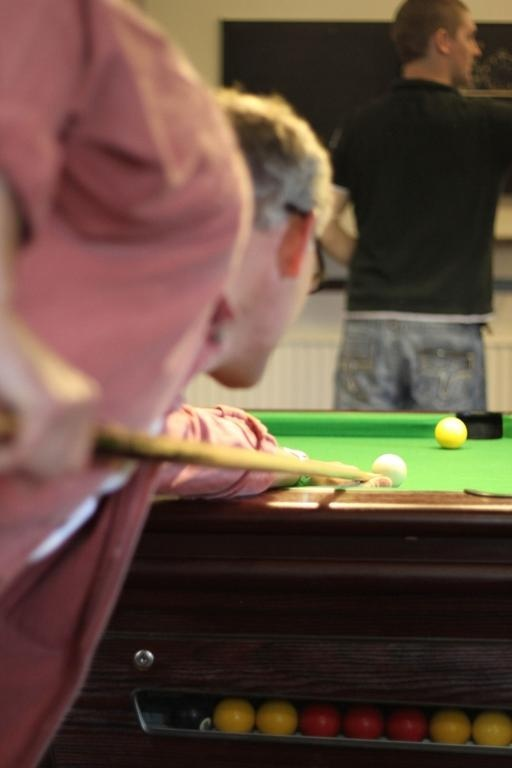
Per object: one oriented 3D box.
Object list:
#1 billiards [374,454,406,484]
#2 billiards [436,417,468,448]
[{"bbox_3d":[0.200,0.123,1.156,0.046,0.042,0.047,-1,1,41],"label":"billiards"},{"bbox_3d":[0.410,0.101,1.650,0.071,0.065,0.065,0,4,13],"label":"billiards"}]
